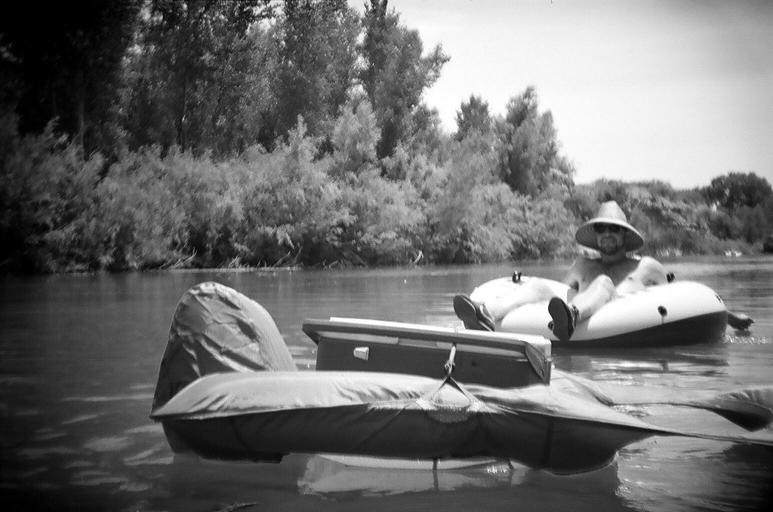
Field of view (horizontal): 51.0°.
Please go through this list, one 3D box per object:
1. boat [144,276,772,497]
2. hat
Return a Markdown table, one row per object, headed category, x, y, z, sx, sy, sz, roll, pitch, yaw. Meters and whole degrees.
| category | x | y | z | sx | sy | sz | roll | pitch | yaw |
| --- | --- | --- | --- | --- | --- | --- | --- | --- | --- |
| boat | 0.149 | 0.710 | 5.089 | 2.213 | 0.809 | 1.919 | 0 | -6 | 3 |
| hat | 2.228 | -0.362 | 7.931 | 0.515 | 0.314 | 0.563 | 22 | -37 | 7 |
